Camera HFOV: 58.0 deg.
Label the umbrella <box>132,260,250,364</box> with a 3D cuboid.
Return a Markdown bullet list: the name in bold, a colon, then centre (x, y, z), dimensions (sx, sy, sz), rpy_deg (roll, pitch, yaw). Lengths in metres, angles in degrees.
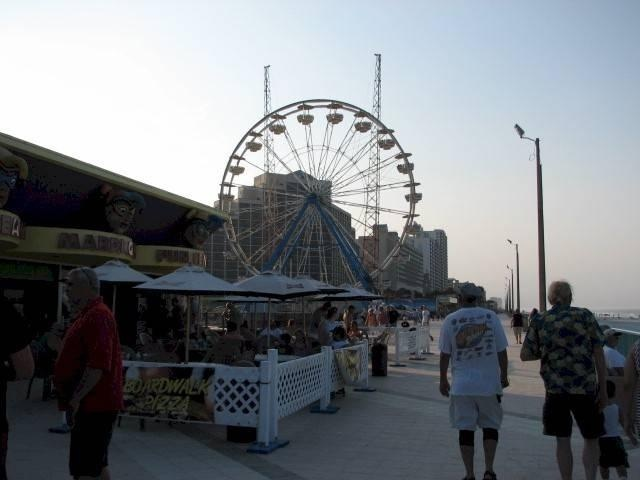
- **umbrella**: centre (-2.713, 1.594, 11.840), dimensions (2.117, 2.245, 2.260), rpy_deg (2, -4, 2)

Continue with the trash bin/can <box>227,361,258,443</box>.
- **trash bin/can**: centre (-1.199, 2.538, 9.009), dimensions (0.437, 1.213, 0.736), rpy_deg (3, -6, -18)

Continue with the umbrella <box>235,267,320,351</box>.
- **umbrella**: centre (-1.059, 1.560, 13.245), dimensions (1.407, 1.178, 1.644), rpy_deg (1, -7, 10)
